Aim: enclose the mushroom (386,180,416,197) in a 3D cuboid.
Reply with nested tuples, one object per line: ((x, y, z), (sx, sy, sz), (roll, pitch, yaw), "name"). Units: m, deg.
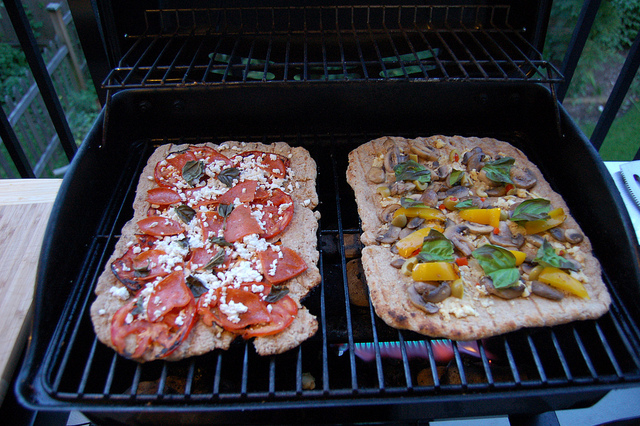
((0.544, -0.173, 3.000), (0.125, 0.034, 0.119), (-13, 40, -28), "mushroom")

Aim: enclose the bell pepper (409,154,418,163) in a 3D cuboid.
((0.647, -0.379, 3.172), (0.087, 0.080, 0.052), (3, 85, 2), "bell pepper")

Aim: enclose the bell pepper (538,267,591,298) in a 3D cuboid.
((1.373, 0.389, 2.578), (0.301, 0.071, 0.122), (28, 70, 9), "bell pepper")

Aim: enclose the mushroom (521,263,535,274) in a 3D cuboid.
((1.208, 0.318, 2.657), (0.059, 0.023, 0.063), (-32, 59, -21), "mushroom")

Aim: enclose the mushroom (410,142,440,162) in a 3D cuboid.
((0.730, -0.436, 3.191), (0.203, 0.059, 0.103), (32, 56, 20), "mushroom")

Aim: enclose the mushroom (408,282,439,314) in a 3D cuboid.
((0.566, 0.497, 2.551), (0.084, 0.049, 0.197), (-37, 61, -24), "mushroom")

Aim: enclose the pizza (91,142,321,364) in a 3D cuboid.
((-0.633, 0.105, 2.900), (1.262, 0.220, 1.715), (1, 49, -5), "pizza")

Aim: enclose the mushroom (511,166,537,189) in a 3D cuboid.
((1.345, -0.226, 3.033), (0.151, 0.045, 0.170), (6, 42, 15), "mushroom")

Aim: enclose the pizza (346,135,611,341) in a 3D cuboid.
((0.921, -0.005, 2.863), (1.394, 0.261, 1.529), (-7, 53, -5), "pizza")

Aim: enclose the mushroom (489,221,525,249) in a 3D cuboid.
((1.134, 0.144, 2.750), (0.146, 0.045, 0.151), (22, 52, 16), "mushroom")

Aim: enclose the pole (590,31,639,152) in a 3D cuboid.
((2.413, -0.980, 3.875), (0.295, 1.013, 0.303), (0, 31, -2), "pole")

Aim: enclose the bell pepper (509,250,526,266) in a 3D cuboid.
((1.152, 0.257, 2.659), (0.084, 0.083, 0.064), (-6, 97, -9), "bell pepper")

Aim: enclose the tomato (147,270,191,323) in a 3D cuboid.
((-0.840, 0.464, 2.535), (0.179, 0.052, 0.262), (19, 51, 7), "tomato")

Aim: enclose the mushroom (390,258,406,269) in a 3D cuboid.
((0.461, 0.299, 2.697), (0.074, 0.032, 0.059), (22, 56, 16), "mushroom")

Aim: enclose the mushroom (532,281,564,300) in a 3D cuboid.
((1.292, 0.443, 2.584), (0.147, 0.044, 0.085), (23, 60, 16), "mushroom")

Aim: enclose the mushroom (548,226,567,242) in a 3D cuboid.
((1.457, 0.127, 2.789), (0.061, 0.021, 0.085), (-10, 42, -6), "mushroom")

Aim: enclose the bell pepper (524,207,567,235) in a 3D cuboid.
((1.393, 0.062, 2.803), (0.254, 0.055, 0.142), (-31, 32, -5), "bell pepper")
